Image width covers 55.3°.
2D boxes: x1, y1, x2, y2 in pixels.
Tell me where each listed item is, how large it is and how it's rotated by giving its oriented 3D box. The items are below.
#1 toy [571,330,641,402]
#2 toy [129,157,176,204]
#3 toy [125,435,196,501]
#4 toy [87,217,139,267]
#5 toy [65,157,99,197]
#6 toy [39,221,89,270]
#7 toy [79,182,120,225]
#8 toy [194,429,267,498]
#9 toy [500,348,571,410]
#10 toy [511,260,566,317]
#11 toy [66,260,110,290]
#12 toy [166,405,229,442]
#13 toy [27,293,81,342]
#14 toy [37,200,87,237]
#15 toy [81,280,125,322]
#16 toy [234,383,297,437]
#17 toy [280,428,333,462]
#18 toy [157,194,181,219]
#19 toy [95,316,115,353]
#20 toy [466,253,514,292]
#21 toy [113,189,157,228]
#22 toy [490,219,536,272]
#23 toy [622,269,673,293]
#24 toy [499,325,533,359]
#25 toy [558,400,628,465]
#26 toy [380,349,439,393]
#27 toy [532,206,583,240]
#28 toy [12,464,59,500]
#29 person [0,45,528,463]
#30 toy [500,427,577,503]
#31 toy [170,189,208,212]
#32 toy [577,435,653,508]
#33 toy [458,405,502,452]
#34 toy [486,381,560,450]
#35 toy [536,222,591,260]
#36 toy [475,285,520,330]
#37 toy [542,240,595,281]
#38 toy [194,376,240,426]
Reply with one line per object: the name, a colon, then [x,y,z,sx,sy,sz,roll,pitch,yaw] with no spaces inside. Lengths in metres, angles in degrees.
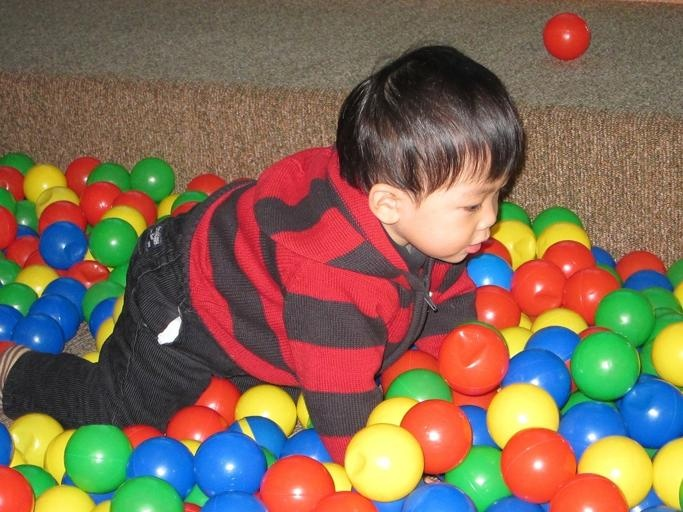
toy: [0.574,0.239,1.515,0.140,0.171,0.148,9,60,1]
toy: [-0.645,-0.265,2.332,0.143,0.174,0.149,13,54,-1]
toy: [-0.354,0.418,1.321,0.116,0.145,0.119,-2,5,4]
toy: [-0.676,-0.038,1.958,0.084,0.101,0.084,36,56,20]
toy: [-0.901,-0.269,2.283,0.100,0.120,0.102,18,64,-3]
toy: [-0.855,-0.026,2.019,0.089,0.110,0.091,14,37,11]
toy: [-0.795,-0.176,2.237,0.124,0.151,0.131,4,60,-6]
toy: [-0.208,0.413,1.363,0.141,0.135,0.126,-11,14,10]
toy: [0.427,0.289,1.499,0.127,0.157,0.132,-1,-13,1]
toy: [0.547,0.090,1.869,0.134,0.166,0.150,8,50,10]
toy: [-0.766,0.053,1.991,0.089,0.049,0.091,-2,27,-24]
toy: [-0.328,0.381,1.470,0.083,0.085,0.098,-24,-11,-18]
toy: [-0.785,0.159,1.824,0.121,0.150,0.125,12,12,13]
toy: [-0.896,-0.134,2.143,0.111,0.136,0.115,9,44,-3]
toy: [-0.693,0.121,1.941,0.104,0.130,0.109,-2,42,-7]
toy: [-0.171,0.358,1.556,0.118,0.127,0.141,-1,40,1]
toy: [-0.075,0.416,1.431,0.072,0.088,0.073,-3,49,-18]
toy: [-0.582,-0.164,2.184,0.046,0.085,0.083,25,-32,-29]
toy: [-0.620,0.209,1.721,0.042,0.078,0.059,29,-16,-24]
toy: [0.424,0.053,1.887,0.102,0.123,0.102,-10,34,33]
toy: [-0.650,-0.165,2.140,0.110,0.136,0.114,7,46,3]
toy: [0.528,-0.021,2.065,0.132,0.165,0.138,-11,0,-18]
toy: [0.852,0.074,1.833,0.091,0.085,0.079,-9,25,43]
toy: [0.423,0.215,1.623,0.067,0.087,0.070,1,24,3]
toy: [0.522,0.368,1.391,0.112,0.141,0.116,2,-6,2]
toy: [0.163,0.272,1.584,0.092,0.073,0.116,-11,1,-37]
toy: [0.668,-0.119,2.036,0.106,0.116,0.131,-3,14,25]
toy: [-0.621,0.461,1.342,0.064,0.078,0.064,28,24,19]
person: [-0.230,-0.129,1.676,1.247,0.960,0.712,18,29,23]
toy: [0.378,0.412,1.330,0.128,0.150,0.141,1,43,4]
toy: [-0.491,-0.184,2.104,0.103,0.061,0.106,-17,11,-14]
toy: [0.535,0.405,1.335,0.129,0.162,0.133,-9,14,7]
toy: [0.294,0.380,1.429,0.076,0.095,0.080,-8,-15,2]
toy: [0.373,0.322,1.361,0.130,0.163,0.134,1,-2,3]
toy: [0.663,-0.063,1.956,0.135,0.128,0.121,-5,16,18]
toy: [0.405,0.149,1.763,0.104,0.126,0.108,-17,54,11]
toy: [0.650,0.004,1.864,0.112,0.119,0.135,10,-14,10]
toy: [-0.291,0.348,1.589,0.097,0.123,0.103,-8,54,-8]
